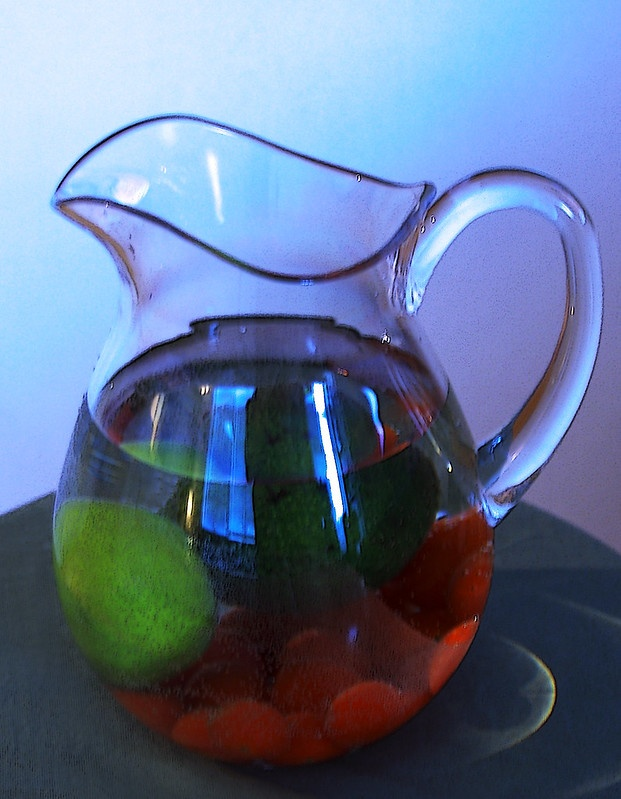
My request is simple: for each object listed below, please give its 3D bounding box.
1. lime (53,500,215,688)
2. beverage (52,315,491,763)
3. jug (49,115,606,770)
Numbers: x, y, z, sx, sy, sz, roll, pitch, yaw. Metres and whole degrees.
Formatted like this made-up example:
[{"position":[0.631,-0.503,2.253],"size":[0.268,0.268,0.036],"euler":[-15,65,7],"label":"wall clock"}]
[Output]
[{"position":[-0.075,0.084,0.280],"size":[0.067,0.066,0.079],"euler":[-6,-23,37],"label":"lime"},{"position":[-0.009,0.059,0.331],"size":[0.179,0.206,0.188],"euler":[-4,0,-7],"label":"beverage"},{"position":[0.022,0.021,0.315],"size":[0.225,0.263,0.169],"euler":[-5,10,10],"label":"jug"}]
